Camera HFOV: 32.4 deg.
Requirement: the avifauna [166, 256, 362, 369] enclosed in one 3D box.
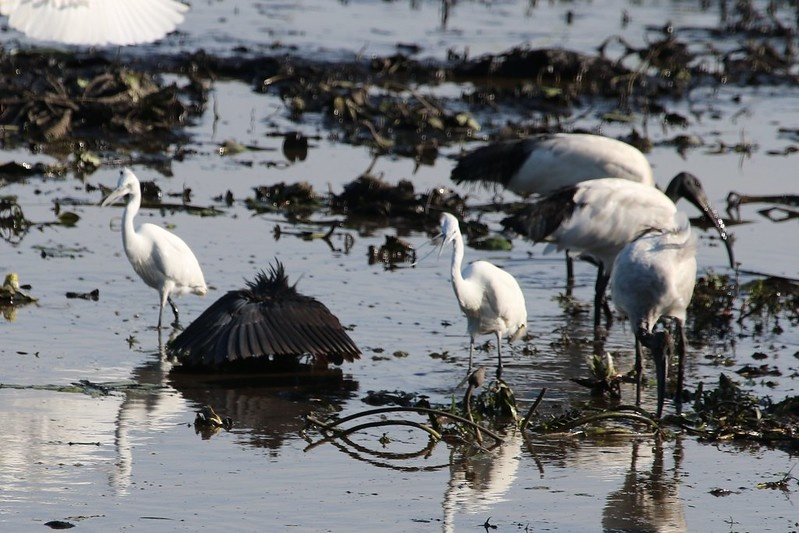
[{"bbox_3d":[-1.592,0.628,16.422,1.753,0.984,1.533,-6,3,-30],"label":"avifauna"}]
